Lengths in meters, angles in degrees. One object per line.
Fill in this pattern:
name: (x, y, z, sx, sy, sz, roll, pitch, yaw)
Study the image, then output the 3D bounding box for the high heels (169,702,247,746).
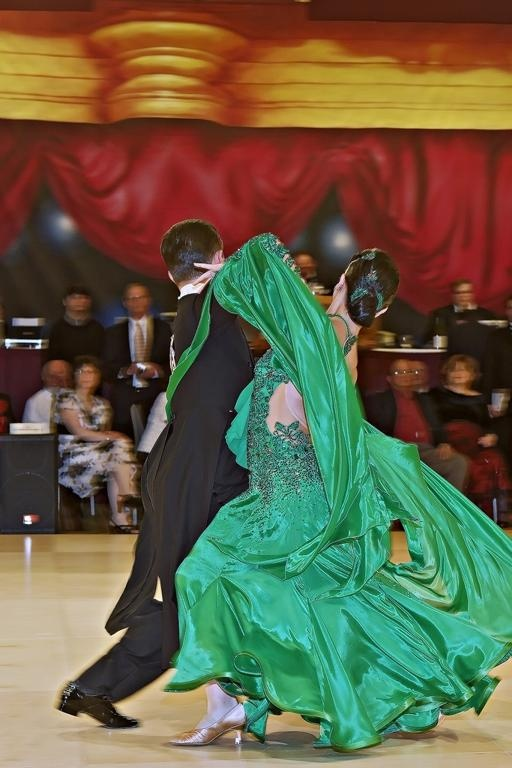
high heels: (-0.123, 0.826, 1.728, 0.176, 0.117, 0.113, -1, -2, -7)

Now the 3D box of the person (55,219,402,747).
person: (-0.242, 0.212, 1.875, 0.394, 1.387, 0.422, -2, -2, 24)

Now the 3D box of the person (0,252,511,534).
person: (-0.145, 0.080, 3.541, 2.446, 1.388, 0.495, 1, -35, 1)
